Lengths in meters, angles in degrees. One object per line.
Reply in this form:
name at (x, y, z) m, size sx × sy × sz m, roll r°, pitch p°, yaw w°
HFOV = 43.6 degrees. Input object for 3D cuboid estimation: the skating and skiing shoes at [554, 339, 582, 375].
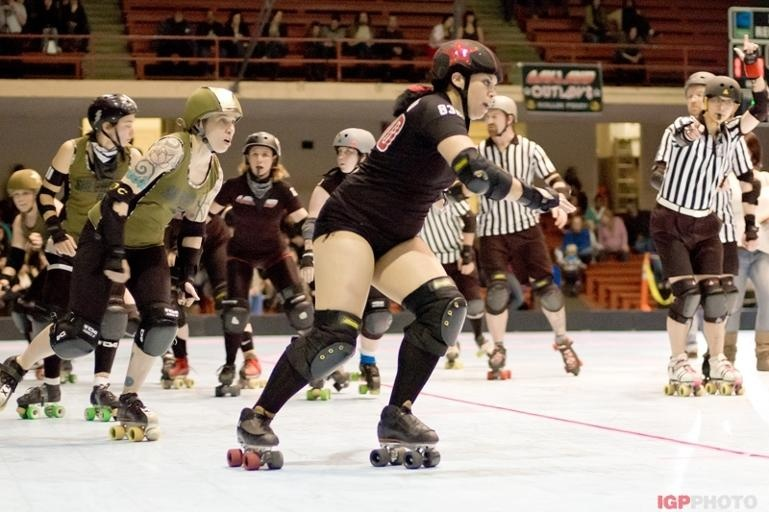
skating and skiing shoes at (1.817, 1.007, 9.460) m, size 0.216 × 0.407 × 0.103 m, roll -9°, pitch -39°, yaw -14°

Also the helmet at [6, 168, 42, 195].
helmet at (-3.371, -0.746, 8.986) m, size 0.272 × 0.260 × 0.315 m, roll 1°, pitch -11°, yaw -13°

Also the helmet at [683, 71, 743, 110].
helmet at (2.822, -1.453, 8.184) m, size 0.310 × 0.262 × 0.509 m, roll 1°, pitch 1°, yaw -11°

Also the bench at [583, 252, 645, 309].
bench at (4.403, 0.532, 18.241) m, size 1.183 × 0.813 × 0.563 m, roll 1°, pitch 1°, yaw -10°
